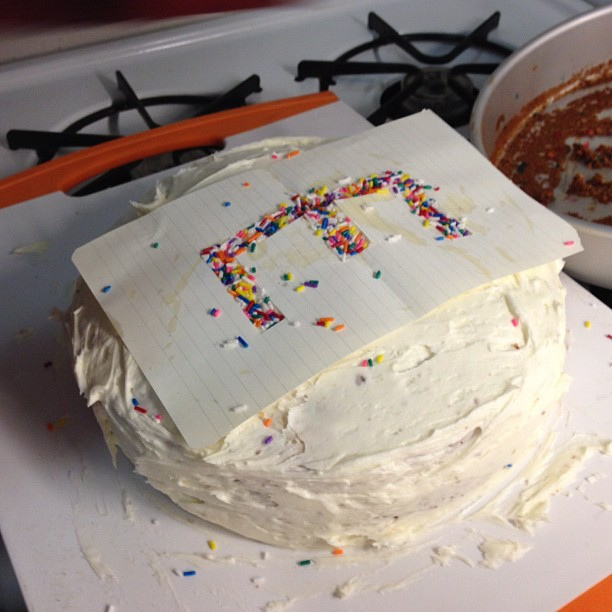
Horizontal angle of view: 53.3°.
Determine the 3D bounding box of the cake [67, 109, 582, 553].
[{"bbox_3d":[0.065,0.067,1.062,0.823,0.471,0.655,-32,50,-23],"label":"cake"}]
